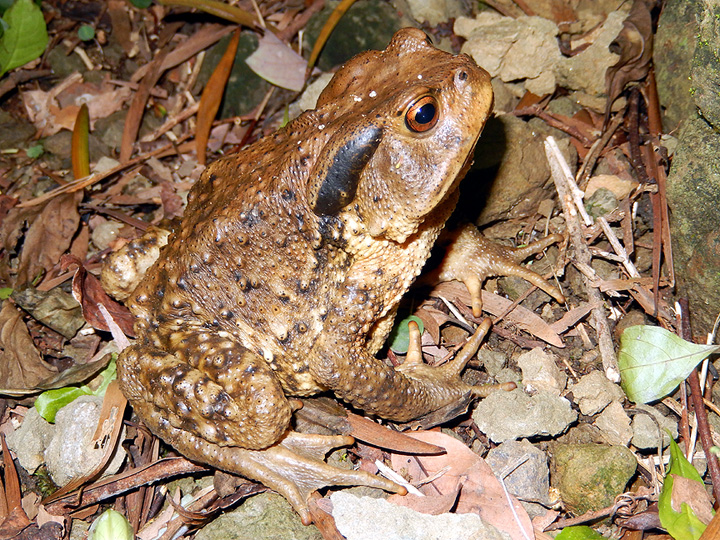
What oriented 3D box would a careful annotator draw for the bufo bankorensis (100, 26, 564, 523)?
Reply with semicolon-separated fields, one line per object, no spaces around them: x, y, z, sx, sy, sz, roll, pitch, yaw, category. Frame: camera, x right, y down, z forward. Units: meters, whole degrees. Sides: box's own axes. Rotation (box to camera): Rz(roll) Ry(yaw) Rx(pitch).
-0.203;0.065;4.094;2.564;1.172;1.978;-42;86;-5;bufo bankorensis
